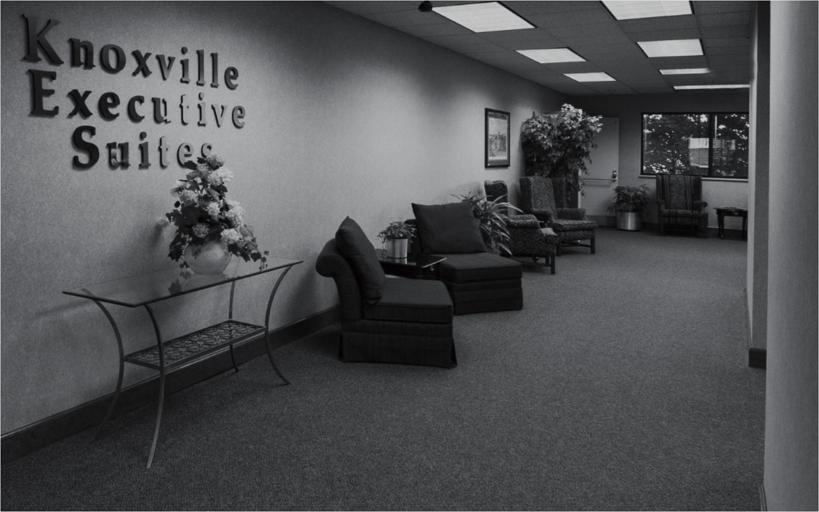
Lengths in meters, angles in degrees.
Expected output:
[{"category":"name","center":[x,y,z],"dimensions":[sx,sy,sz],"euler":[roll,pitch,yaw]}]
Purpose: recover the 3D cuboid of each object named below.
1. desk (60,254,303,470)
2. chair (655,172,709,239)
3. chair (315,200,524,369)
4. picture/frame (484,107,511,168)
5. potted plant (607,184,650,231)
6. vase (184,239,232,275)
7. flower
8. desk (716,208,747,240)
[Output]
[{"category":"desk","center":[-1.560,0.625,3.723],"dimensions":[0.794,1.069,1.414],"euler":[8,14,34]},{"category":"chair","center":[5.673,-1.093,10.711],"dimensions":[0.999,1.230,0.814],"euler":[6,12,27]},{"category":"chair","center":[0.165,0.194,5.000],"dimensions":[1.210,1.179,2.177],"euler":[7,13,30]},{"category":"picture/frame","center":[1.486,-1.969,8.562],"dimensions":[0.056,0.971,1.065],"euler":[7,13,31]},{"category":"potted plant","center":[4.888,-1.110,11.675],"dimensions":[1.002,1.215,0.964],"euler":[0,3,2]},{"category":"vase","center":[-1.421,-0.014,3.625],"dimensions":[0.246,0.208,0.249],"euler":[0,6,0]},{"category":"flower","center":[-1.473,-0.298,3.804],"dimensions":[0.603,0.812,0.517],"euler":[5,9,-10]},{"category":"desk","center":[6.504,-0.687,10.316],"dimensions":[0.615,0.591,0.568],"euler":[11,16,44]}]
